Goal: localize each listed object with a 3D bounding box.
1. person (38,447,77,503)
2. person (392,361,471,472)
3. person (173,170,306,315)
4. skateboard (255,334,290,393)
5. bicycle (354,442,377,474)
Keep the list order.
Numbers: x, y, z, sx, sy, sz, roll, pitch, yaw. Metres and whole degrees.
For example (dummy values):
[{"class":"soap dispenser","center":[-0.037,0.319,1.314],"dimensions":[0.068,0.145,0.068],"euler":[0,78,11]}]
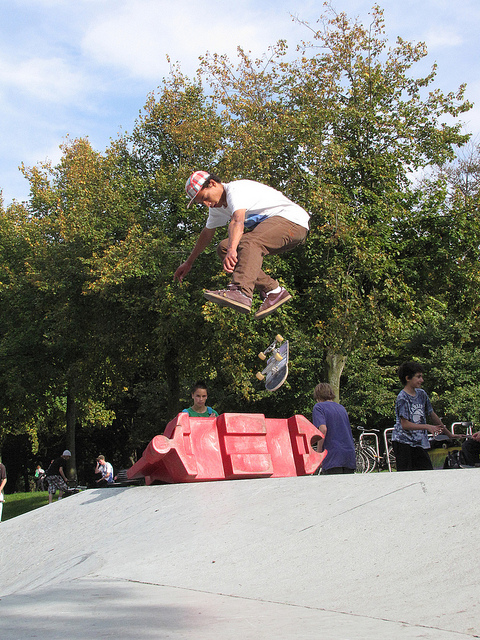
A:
[{"class":"person","center":[-4.321,3.773,16.804],"dimensions":[0.752,1.277,0.626],"euler":[5,-13,14]},{"class":"person","center":[1.443,0.786,5.814],"dimensions":[0.491,0.698,0.578],"euler":[-13,4,2]},{"class":"person","center":[-0.083,-0.588,5.486],"dimensions":[1.018,1.096,0.954],"euler":[-16,-11,39]},{"class":"skateboard","center":[0.307,0.334,6.073],"dimensions":[0.300,0.644,0.099],"euler":[-27,46,-18]},{"class":"bicycle","center":[2.615,2.808,14.146],"dimensions":[0.288,0.498,1.038],"euler":[-13,4,4]}]
